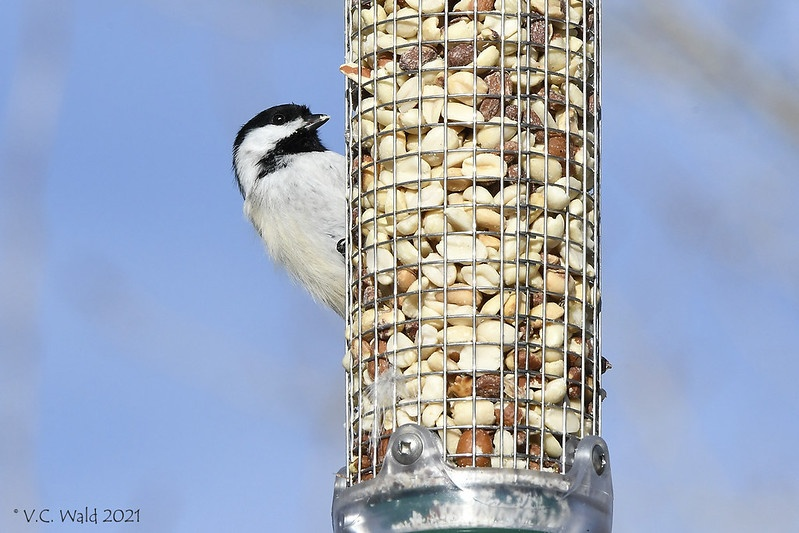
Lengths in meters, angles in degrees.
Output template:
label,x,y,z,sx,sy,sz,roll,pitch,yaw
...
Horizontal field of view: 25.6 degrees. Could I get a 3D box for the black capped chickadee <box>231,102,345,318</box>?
label,x,y,z,sx,sy,sz,roll,pitch,yaw
black capped chickadee,-0.616,-0.396,9.723,0.673,1.199,0.576,1,-35,2
